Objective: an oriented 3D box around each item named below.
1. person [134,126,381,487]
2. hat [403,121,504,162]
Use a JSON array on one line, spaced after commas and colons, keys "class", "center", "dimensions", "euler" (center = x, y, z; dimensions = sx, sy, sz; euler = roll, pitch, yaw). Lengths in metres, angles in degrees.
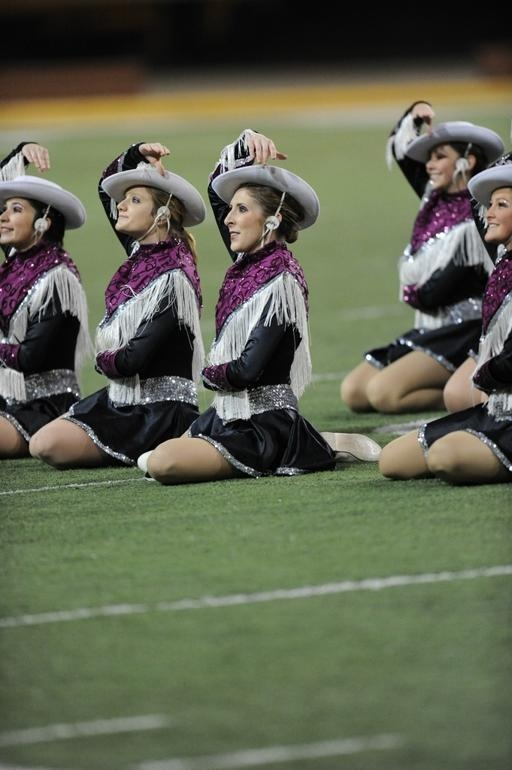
[{"class": "person", "center": [-0.067, -0.193, 3.161], "dimensions": [0.620, 0.990, 0.426], "euler": [-3, 12, -6]}, {"class": "hat", "center": [0.824, -0.985, 3.924], "dimensions": [0.290, 0.062, 0.256], "euler": [9, -12, -24]}]
